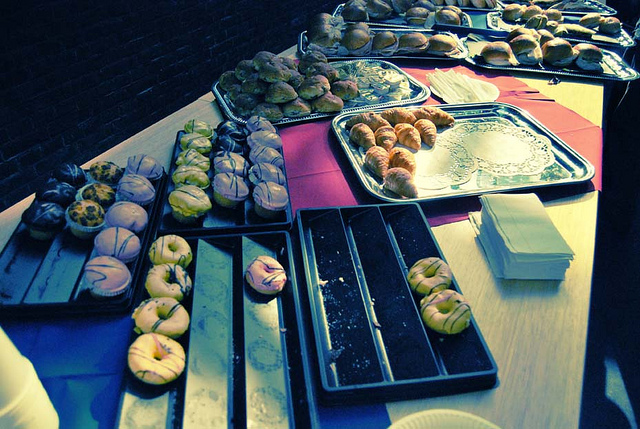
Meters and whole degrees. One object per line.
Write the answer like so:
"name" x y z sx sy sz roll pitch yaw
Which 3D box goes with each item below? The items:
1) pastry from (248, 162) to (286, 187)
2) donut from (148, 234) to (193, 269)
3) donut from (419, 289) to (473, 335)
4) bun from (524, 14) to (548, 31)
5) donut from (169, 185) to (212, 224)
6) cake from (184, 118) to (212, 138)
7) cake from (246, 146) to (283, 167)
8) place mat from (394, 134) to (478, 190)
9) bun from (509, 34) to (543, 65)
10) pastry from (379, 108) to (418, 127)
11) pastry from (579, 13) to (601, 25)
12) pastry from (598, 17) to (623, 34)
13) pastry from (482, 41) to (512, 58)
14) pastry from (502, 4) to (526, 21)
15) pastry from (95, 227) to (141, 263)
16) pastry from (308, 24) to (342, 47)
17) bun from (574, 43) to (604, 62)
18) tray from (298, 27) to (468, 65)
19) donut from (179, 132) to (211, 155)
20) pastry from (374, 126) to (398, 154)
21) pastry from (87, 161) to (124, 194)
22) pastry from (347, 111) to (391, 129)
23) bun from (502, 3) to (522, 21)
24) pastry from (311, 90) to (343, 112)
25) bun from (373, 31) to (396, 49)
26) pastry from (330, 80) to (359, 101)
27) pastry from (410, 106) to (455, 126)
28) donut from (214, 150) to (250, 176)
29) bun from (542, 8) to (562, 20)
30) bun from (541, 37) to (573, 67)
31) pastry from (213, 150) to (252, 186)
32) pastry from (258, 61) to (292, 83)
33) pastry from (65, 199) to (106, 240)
"pastry" -0.178 -0.120 1.325 0.102 0.075 0.056 12 -58 -38
"donut" -0.417 0.098 1.083 0.096 0.095 0.041 32 -46 -1
"donut" 0.338 0.265 1.049 0.140 0.146 0.054 -7 -61 6
"bun" 1.381 -1.227 2.512 0.128 0.094 0.055 0 -31 13
"donut" -0.420 -0.009 1.215 0.097 0.068 0.081 8 3 14
"cake" -0.466 -0.340 1.490 0.097 0.071 0.044 32 -47 19
"cake" -0.198 -0.216 1.371 0.099 0.060 0.075 11 26 21
"place mat" 0.469 -0.192 1.480 0.247 0.226 0.004 -30 -44 -29
"bun" 1.133 -0.904 2.146 0.147 0.169 0.079 -10 -3 1
"pastry" 0.324 -0.402 1.606 0.143 0.074 0.053 14 -54 10
"pastry" 1.904 -1.345 2.741 0.101 0.052 0.099 -31 23 -13
"pastry" 1.975 -1.279 2.675 0.121 0.123 0.087 25 -38 40
"pastry" 0.958 -0.882 2.099 0.122 0.103 0.068 11 -53 33
"pastry" 1.337 -1.389 2.684 0.112 0.148 0.083 22 -42 27
"pastry" -0.554 0.080 1.065 0.093 0.106 0.063 15 -66 -19
"pastry" 0.024 -0.973 2.125 0.187 0.172 0.073 -6 -13 -4
"bun" 1.447 -0.870 2.115 0.121 0.106 0.063 20 -48 21
"tray" 0.381 -0.903 2.135 0.743 0.420 0.076 5 -51 4
"donut" -0.450 -0.253 1.400 0.081 0.103 0.037 2 -47 -4
"pastry" 0.267 -0.320 1.578 0.116 0.072 0.198 6 20 8
"pastry" -0.680 -0.128 1.230 0.100 0.099 0.057 -20 -33 -51
"pastry" 0.196 -0.378 1.575 0.140 0.056 0.067 2 18 3
"bun" 1.329 -1.402 2.694 0.100 0.130 0.073 0 -58 31
"pastry" 0.034 -0.476 1.672 0.092 0.092 0.037 22 -36 25
"bun" 0.342 -0.934 2.093 0.083 0.106 0.060 -10 -65 32
"pastry" 0.112 -0.550 1.724 0.098 0.093 0.053 -6 -51 -19
"pastry" 0.479 -0.412 1.634 0.159 0.062 0.079 13 13 -8
"donut" -0.299 -0.177 1.333 0.093 0.048 0.092 35 21 28
"bun" 1.599 -1.382 2.697 0.115 0.094 0.063 -2 -59 -13
"bun" 1.313 -0.900 2.170 0.197 0.137 0.185 -24 31 -30
"pastry" -0.288 -0.179 1.316 0.121 0.122 0.061 25 -69 -23
"pastry" -0.194 -0.605 1.660 0.109 0.101 0.036 15 -45 10
"pastry" -0.667 0.014 1.122 0.107 0.108 0.081 15 -56 -28
